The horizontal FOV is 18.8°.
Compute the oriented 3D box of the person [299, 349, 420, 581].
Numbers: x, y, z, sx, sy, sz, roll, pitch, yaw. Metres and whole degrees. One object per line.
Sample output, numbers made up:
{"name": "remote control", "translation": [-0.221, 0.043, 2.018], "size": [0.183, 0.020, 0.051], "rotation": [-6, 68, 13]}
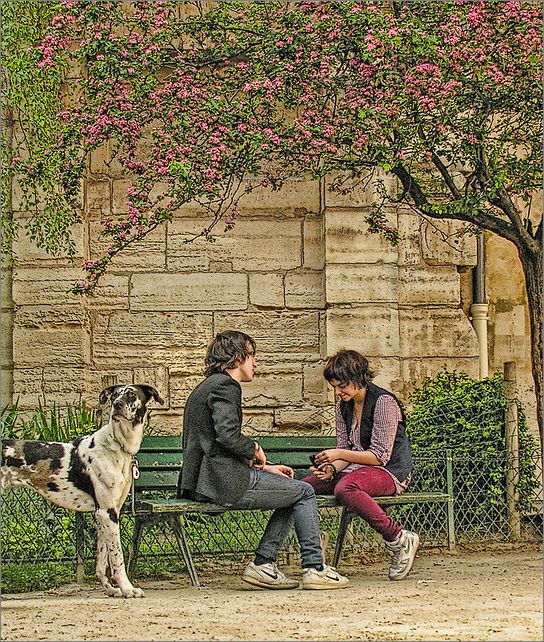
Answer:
{"name": "person", "translation": [0.639, 1.048, 11.463], "size": [0.882, 1.595, 1.236], "rotation": [6, -12, -26]}

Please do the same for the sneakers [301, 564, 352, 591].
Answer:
{"name": "sneakers", "translation": [0.335, 1.653, 10.528], "size": [0.340, 0.153, 0.121], "rotation": [1, -3, -14]}

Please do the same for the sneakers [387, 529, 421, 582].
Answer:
{"name": "sneakers", "translation": [0.854, 1.536, 10.797], "size": [0.210, 0.334, 0.284], "rotation": [0, -4, -3]}

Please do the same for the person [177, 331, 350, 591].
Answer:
{"name": "person", "translation": [-0.114, 0.888, 10.595], "size": [0.970, 1.659, 0.448], "rotation": [0, -4, -3]}

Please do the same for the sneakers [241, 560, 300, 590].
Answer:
{"name": "sneakers", "translation": [-0.027, 1.637, 10.618], "size": [0.392, 0.185, 0.138], "rotation": [6, -5, -10]}
